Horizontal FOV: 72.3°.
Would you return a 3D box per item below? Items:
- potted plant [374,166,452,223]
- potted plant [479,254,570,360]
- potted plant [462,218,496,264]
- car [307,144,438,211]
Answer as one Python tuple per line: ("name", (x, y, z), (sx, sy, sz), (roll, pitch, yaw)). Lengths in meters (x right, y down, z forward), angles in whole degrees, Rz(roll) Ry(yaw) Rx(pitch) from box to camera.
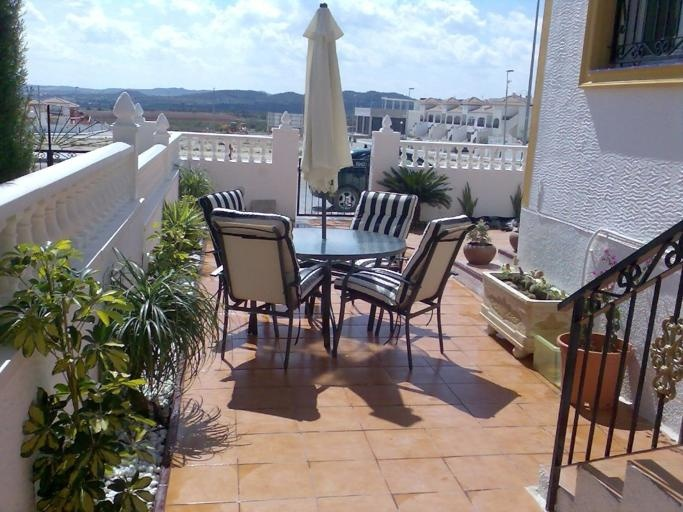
("potted plant", (1.809, -1.520, 11.605), (1.515, 1.507, 1.624), (1, 7, 8))
("potted plant", (1.998, 0.657, 5.208), (0.553, 0.738, 1.023), (-2, 14, -13))
("potted plant", (2.422, -0.224, 8.231), (0.536, 0.773, 0.532), (-1, 1, -37))
("car", (0.692, -1.989, 12.883), (3.785, 1.537, 1.922), (-5, 14, -13))
